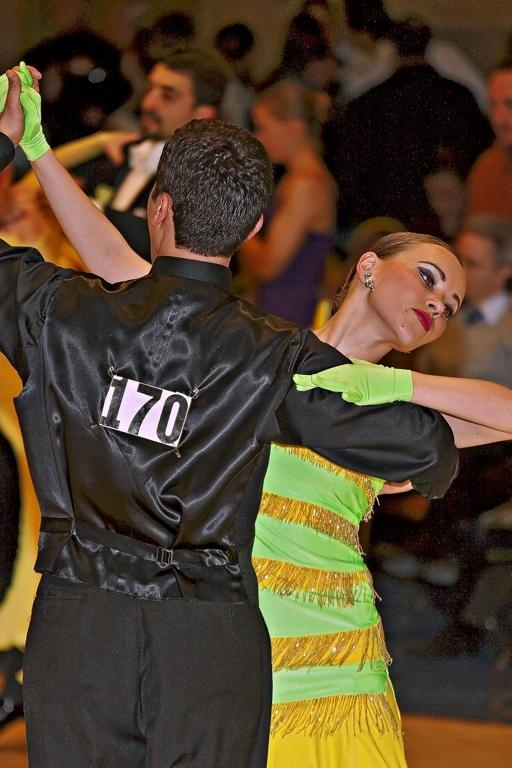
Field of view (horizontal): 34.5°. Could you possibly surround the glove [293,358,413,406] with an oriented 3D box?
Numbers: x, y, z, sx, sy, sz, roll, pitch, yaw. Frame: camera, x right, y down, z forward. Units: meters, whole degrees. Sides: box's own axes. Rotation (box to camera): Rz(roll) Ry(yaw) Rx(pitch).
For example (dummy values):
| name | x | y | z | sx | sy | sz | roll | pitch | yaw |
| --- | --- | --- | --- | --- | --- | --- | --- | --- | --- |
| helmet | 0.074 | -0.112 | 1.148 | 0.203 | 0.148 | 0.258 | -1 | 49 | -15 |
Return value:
| name | x | y | z | sx | sy | sz | roll | pitch | yaw |
| --- | --- | --- | --- | --- | --- | --- | --- | --- | --- |
| glove | 0.171 | 0.006 | 1.384 | 0.136 | 0.029 | 0.098 | -2 | 14 | 13 |
